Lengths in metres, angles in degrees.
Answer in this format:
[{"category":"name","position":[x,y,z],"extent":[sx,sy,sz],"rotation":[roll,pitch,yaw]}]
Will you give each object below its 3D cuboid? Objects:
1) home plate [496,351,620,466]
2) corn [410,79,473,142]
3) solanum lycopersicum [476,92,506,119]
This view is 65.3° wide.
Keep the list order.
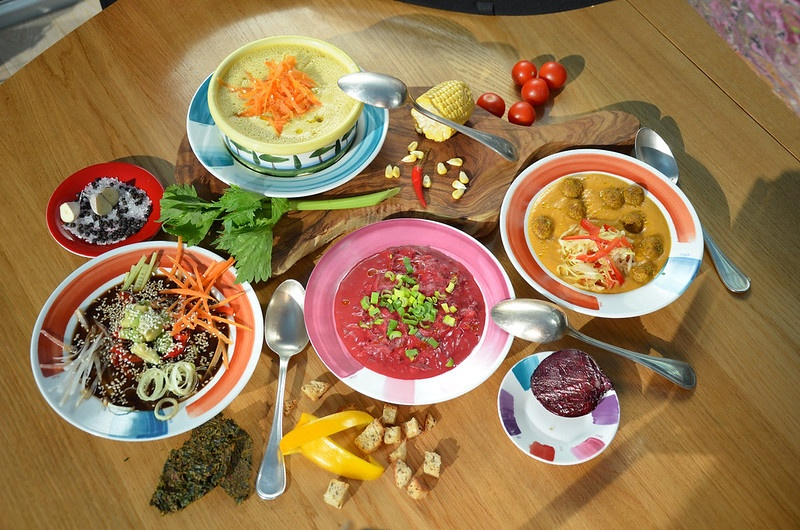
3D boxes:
[{"category":"home plate","position":[0.942,0.897,3.796],"extent":[0.726,0.138,0.570],"rotation":[27,66,8]},{"category":"corn","position":[0.313,-1.071,4.401],"extent":[0.349,0.373,0.474],"rotation":[-5,29,32]},{"category":"solanum lycopersicum","position":[0.666,-1.158,4.599],"extent":[0.184,0.190,0.184],"rotation":[29,44,24]}]
